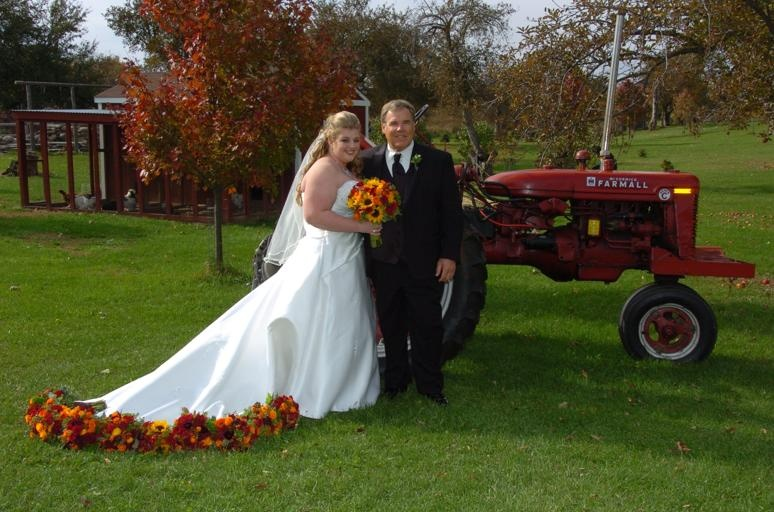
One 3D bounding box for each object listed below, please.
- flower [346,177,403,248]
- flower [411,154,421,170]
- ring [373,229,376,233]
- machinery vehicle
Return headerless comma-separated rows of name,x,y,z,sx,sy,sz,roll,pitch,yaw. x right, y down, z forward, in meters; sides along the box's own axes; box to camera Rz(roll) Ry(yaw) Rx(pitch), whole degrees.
flower,-0.146,-0.481,8.320,0.691,0.693,0.681,11,22,40
flower,0.343,-1.105,8.250,0.124,0.168,0.123,1,6,2
ring,-0.153,-0.293,8.219,0.025,0.024,0.025,1,-7,0
machinery vehicle,1.668,-0.240,10.649,5.867,3.599,3.413,-3,8,1
